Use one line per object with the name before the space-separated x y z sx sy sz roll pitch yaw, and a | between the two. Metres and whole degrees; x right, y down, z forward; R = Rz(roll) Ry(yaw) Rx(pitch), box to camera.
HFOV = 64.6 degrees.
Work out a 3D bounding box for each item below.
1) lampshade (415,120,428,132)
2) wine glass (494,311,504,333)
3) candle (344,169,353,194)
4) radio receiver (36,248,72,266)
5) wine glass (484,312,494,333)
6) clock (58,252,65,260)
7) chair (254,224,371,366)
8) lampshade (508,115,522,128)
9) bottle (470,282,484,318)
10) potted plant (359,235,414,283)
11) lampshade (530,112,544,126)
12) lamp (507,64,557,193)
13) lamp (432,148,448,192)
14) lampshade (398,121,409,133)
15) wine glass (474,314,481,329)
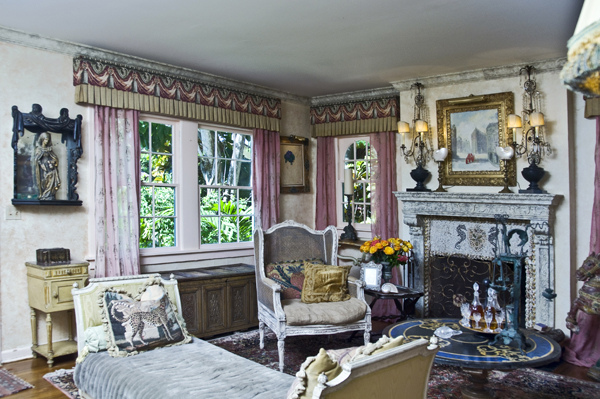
lampshade | 1.692 -1.029 6.600 0.155 0.166 0.152 0 1 36
wine glass | 1.910 1.173 4.564 0.104 0.209 0.079 -3 -1 -42
candle | 0.744 -0.286 7.265 0.131 0.368 0.136 -3 -1 5
radio receiver | -2.809 0.617 5.395 0.306 0.191 0.208 2 0 -43
wine glass | 1.816 1.177 4.569 0.093 0.207 0.057 -3 0 -15
clock | -2.720 0.643 5.424 0.013 0.077 0.074 -3 -1 37
chair | 0.125 1.128 5.866 1.202 1.537 1.249 1 0 -16
lampshade | 2.697 -0.980 5.985 0.150 0.159 0.152 -4 -3 37
bottle | 1.705 0.962 4.583 0.125 0.366 0.357 -3 -1 19
potted plant | 1.142 0.851 6.291 0.619 0.649 0.610 -2 3 -33
lampshade | 2.905 -0.978 5.845 0.161 0.170 0.165 -4 -4 43
lamp | 2.901 -0.906 5.954 0.535 1.709 0.304 -3 0 24
lamp | 1.946 -0.412 6.557 0.205 0.618 0.314 -3 -1 17
lampshade | 1.480 -1.052 6.799 0.145 0.161 0.180 -3 -1 17
wine glass | 1.725 1.181 4.617 0.063 0.140 0.037 -3 0 12
